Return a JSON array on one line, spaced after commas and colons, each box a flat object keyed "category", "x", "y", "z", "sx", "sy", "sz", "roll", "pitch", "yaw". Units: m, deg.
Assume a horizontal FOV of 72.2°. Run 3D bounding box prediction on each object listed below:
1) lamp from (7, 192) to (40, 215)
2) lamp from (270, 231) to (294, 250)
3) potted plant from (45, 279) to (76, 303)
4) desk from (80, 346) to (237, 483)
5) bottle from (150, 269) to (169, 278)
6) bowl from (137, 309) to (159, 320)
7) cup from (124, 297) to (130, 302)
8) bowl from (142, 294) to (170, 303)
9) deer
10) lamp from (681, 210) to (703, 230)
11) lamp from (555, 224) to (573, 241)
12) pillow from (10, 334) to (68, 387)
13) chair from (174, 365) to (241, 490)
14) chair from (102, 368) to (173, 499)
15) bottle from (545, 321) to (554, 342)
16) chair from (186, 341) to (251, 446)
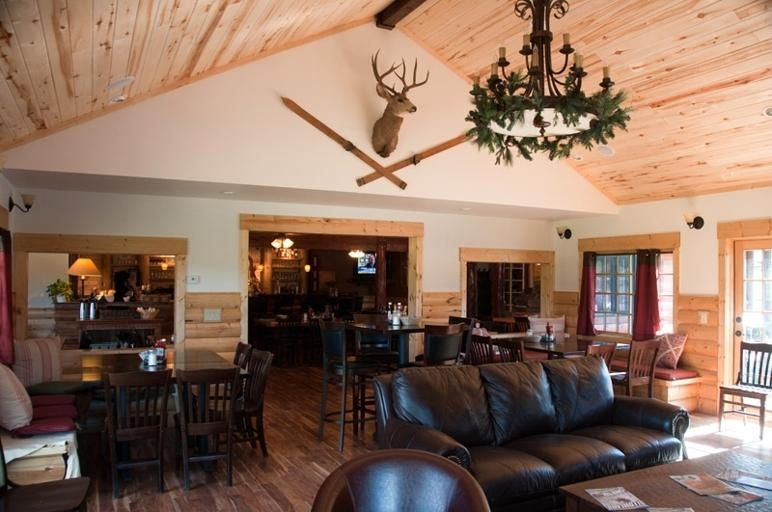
[{"category": "lamp", "x": -5.004, "y": -0.689, "z": 7.272, "sx": 0.398, "sy": 0.258, "sz": 0.226, "roll": -2, "pitch": -3, "yaw": 14}, {"category": "lamp", "x": -2.300, "y": -0.321, "z": 11.891, "sx": 0.395, "sy": 0.253, "sz": 0.393, "roll": 1, "pitch": 3, "yaw": 7}, {"category": "potted plant", "x": -6.599, "y": 0.730, "z": 10.763, "sx": 0.642, "sy": 0.638, "sz": 0.674, "roll": 3, "pitch": -1, "yaw": -32}, {"category": "desk", "x": -2.492, "y": 1.421, "z": 6.084, "sx": 1.569, "sy": 0.984, "sz": 1.625, "roll": 1, "pitch": 4, "yaw": -21}, {"category": "bottle", "x": -6.050, "y": 0.504, "z": 14.120, "sx": 0.410, "sy": 0.216, "sz": 0.275, "roll": 5, "pitch": -3, "yaw": -17}, {"category": "bowl", "x": -4.195, "y": 1.027, "z": 9.273, "sx": 0.270, "sy": 0.131, "sz": 0.272, "roll": -2, "pitch": -8, "yaw": 0}, {"category": "cup", "x": -5.238, "y": 0.884, "z": 10.695, "sx": 0.096, "sy": 0.132, "sz": 0.358, "roll": 2, "pitch": -9, "yaw": -27}, {"category": "bowl", "x": -4.682, "y": 0.899, "z": 10.791, "sx": 0.552, "sy": 0.228, "sz": 0.596, "roll": -2, "pitch": -8, "yaw": 0}, {"category": "deer", "x": 0.170, "y": -2.272, "z": 7.526, "sx": 0.812, "sy": 1.560, "sz": 1.035, "roll": -2, "pitch": -8, "yaw": -1}, {"category": "lamp", "x": 4.934, "y": -0.543, "z": 8.499, "sx": 0.270, "sy": 0.231, "sz": 0.235, "roll": 17, "pitch": -4, "yaw": 11}, {"category": "lamp", "x": 3.557, "y": -0.433, "z": 10.597, "sx": 0.096, "sy": 0.291, "sz": 0.380, "roll": 2, "pitch": -9, "yaw": -28}, {"category": "pillow", "x": -4.193, "y": 1.283, "z": 6.365, "sx": 0.215, "sy": 0.576, "sz": 0.568, "roll": -23, "pitch": -18, "yaw": 33}, {"category": "chair", "x": -1.979, "y": 1.866, "z": 5.924, "sx": 0.624, "sy": 1.240, "sz": 1.299, "roll": 0, "pitch": -8, "yaw": -17}, {"category": "chair", "x": -2.666, "y": 1.862, "z": 5.690, "sx": 0.590, "sy": 1.247, "sz": 1.130, "roll": 1, "pitch": -9, "yaw": -25}, {"category": "bottle", "x": 2.388, "y": 1.147, "z": 7.731, "sx": 0.101, "sy": 0.236, "sz": 0.274, "roll": -4, "pitch": -8, "yaw": 15}, {"category": "chair", "x": -1.973, "y": 1.437, "z": 6.159, "sx": 0.761, "sy": 1.137, "sz": 0.675, "roll": 4, "pitch": -3, "yaw": -21}]
